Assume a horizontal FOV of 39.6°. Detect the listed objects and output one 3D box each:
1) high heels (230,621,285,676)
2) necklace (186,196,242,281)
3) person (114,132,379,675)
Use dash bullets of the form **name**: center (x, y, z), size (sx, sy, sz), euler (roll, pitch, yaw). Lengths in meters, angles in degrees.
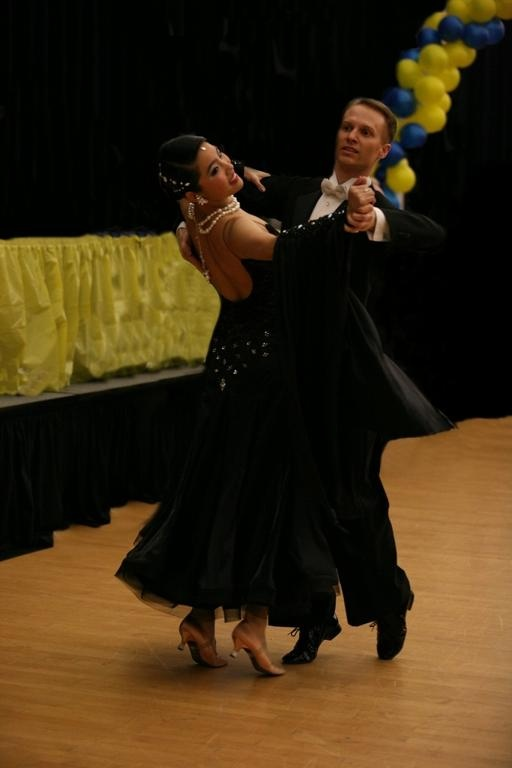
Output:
- **high heels**: center (0.002, 0.668, 1.804), size (0.102, 0.173, 0.175), euler (-1, -3, 17)
- **necklace**: center (-0.097, -0.355, 1.667), size (0.086, 0.118, 0.036), euler (12, 32, 29)
- **person**: center (-0.112, 0.011, 1.758), size (0.540, 1.136, 0.390), euler (-2, -3, 21)
